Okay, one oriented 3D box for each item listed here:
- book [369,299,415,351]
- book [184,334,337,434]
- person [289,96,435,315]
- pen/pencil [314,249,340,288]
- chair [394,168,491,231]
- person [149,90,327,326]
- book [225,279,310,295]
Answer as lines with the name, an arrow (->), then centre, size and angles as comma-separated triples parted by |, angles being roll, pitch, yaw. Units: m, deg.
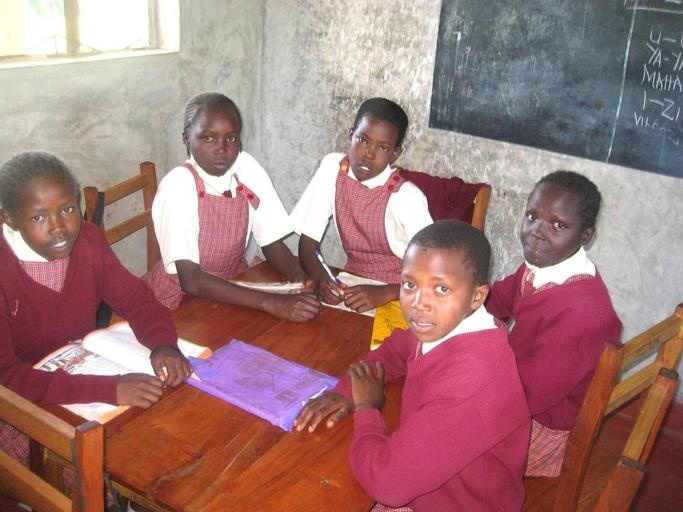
book -> 0.154, 0.208, 1.841 | 0.128, 0.042, 0.172 | 42, 6, -16
book -> -0.205, 0.317, 1.530 | 0.353, 0.049, 0.268 | 18, 20, 25
person -> 0.094, -0.178, 2.274 | 0.625, 0.780, 0.439 | 11, 31, 9
pen/pencil -> -0.061, 0.046, 2.380 | 0.022, 0.212, 0.023 | -30, 5, 40
chair -> 0.464, -0.264, 2.464 | 0.308, 0.148, 0.405 | 17, -10, 3
person -> -0.383, -0.153, 2.132 | 0.709, 0.789, 0.505 | 24, 30, 26
book -> -0.245, 0.105, 1.923 | 0.207, 0.037, 0.037 | 1, -26, -6
